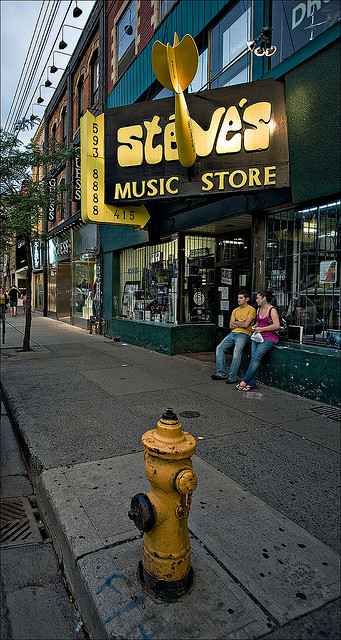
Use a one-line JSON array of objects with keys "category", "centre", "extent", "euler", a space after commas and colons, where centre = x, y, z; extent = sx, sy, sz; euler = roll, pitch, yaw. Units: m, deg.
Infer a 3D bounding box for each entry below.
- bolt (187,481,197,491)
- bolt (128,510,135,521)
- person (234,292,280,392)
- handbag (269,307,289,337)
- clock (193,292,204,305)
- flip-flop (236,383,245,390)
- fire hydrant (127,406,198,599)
[{"category": "bolt", "centre": [0.095, 0.812, 2.132], "extent": [0.042, 0.046, 0.017], "euler": [18, 34, -23]}, {"category": "bolt", "centre": [-0.206, 1.035, 2.291], "extent": [0.039, 0.052, 0.047], "euler": [0, 0, 9]}, {"category": "person", "centre": [1.291, 0.306, 6.575], "extent": [0.657, 1.362, 0.646], "euler": [-7, 6, 7]}, {"category": "handbag", "centre": [1.649, 0.050, 6.654], "extent": [0.178, 0.422, 0.274], "euler": [-16, 12, 3]}, {"category": "clock", "centre": [0.659, -0.498, 10.353], "extent": [0.211, 0.292, 0.064], "euler": [-4, 1, -22]}, {"category": "flip-flop", "centre": [1.047, 1.000, 6.527], "extent": [0.063, 0.112, 0.197], "euler": [0, 6, -33]}, {"category": "fire hydrant", "centre": [-0.033, 0.925, 2.265], "extent": [0.383, 0.891, 0.351], "euler": [-8, 6, -8]}]
